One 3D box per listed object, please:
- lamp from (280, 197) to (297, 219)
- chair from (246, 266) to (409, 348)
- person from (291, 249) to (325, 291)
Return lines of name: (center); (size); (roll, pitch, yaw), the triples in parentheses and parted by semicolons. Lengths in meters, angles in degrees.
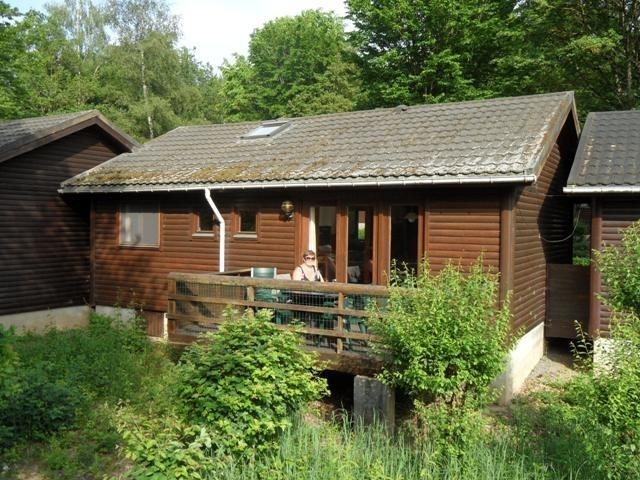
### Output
lamp: (-0.848, -0.749, 13.990); (0.468, 0.491, 0.235); (2, -1, 33)
chair: (0.102, 1.368, 11.602); (3.075, 1.536, 1.344); (2, 0, 39)
person: (-0.186, 0.635, 12.707); (1.021, 1.090, 0.574); (3, -4, -43)
